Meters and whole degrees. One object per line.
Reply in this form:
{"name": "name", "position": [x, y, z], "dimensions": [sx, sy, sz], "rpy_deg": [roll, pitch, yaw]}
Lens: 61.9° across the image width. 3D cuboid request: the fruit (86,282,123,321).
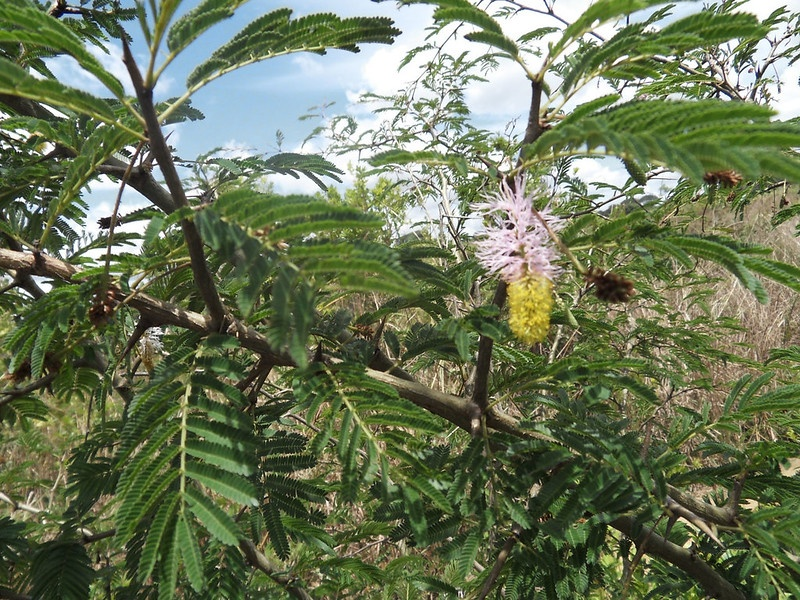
{"name": "fruit", "position": [-1.108, 0.009, 2.505], "dimensions": [0.110, 0.160, 0.085], "rpy_deg": [2, -11, -10]}
